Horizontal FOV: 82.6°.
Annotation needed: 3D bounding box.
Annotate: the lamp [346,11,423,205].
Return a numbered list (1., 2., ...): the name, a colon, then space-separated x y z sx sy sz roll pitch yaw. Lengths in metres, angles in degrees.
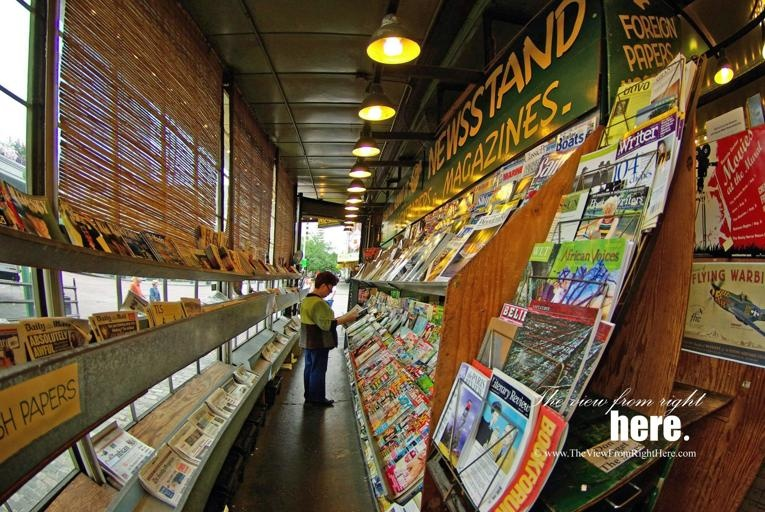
1. lamp: -0.071 -1.286 3.839 0.471 0.339 1.535 6 -42 -14

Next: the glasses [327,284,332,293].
1. glasses: -0.640 0.384 5.272 0.016 0.054 0.059 19 -9 22
